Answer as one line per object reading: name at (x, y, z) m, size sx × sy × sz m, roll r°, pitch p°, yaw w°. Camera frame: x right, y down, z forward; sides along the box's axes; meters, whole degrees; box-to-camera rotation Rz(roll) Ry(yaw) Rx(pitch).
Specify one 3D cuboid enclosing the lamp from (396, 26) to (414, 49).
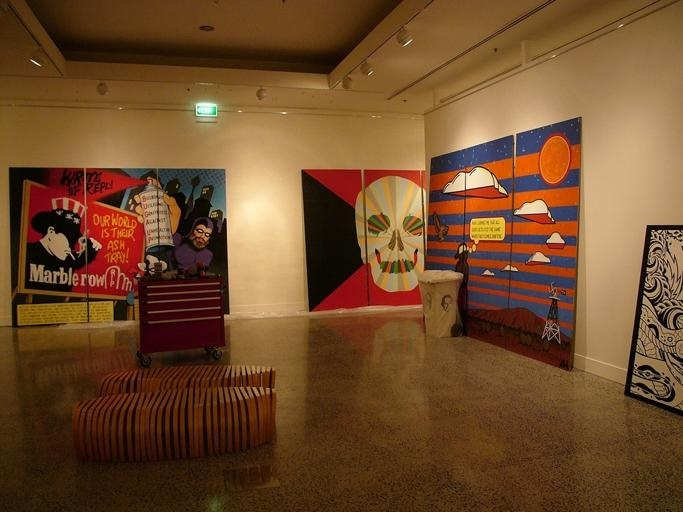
lamp at (0.801, -2.740, 5.826) m, size 0.147 × 0.212 × 0.186 m, roll -7°, pitch 24°, yaw 2°

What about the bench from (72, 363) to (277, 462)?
bench at (-1.469, 1.371, 4.008) m, size 0.942 × 0.289 × 0.921 m, roll -1°, pitch -1°, yaw -9°

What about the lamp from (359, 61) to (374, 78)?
lamp at (0.375, -2.724, 6.795) m, size 0.133 × 0.174 × 0.175 m, roll -1°, pitch -11°, yaw -7°

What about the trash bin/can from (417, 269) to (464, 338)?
trash bin/can at (1.488, 0.697, 7.220) m, size 0.812 × 1.009 × 0.825 m, roll -2°, pitch 4°, yaw 14°

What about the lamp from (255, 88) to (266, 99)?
lamp at (-1.331, -2.680, 7.742) m, size 0.150 × 0.169 × 0.154 m, roll -2°, pitch 1°, yaw -44°

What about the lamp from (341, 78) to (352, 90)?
lamp at (0.076, -2.742, 7.376) m, size 0.110 × 0.119 × 0.119 m, roll 4°, pitch 11°, yaw 9°
